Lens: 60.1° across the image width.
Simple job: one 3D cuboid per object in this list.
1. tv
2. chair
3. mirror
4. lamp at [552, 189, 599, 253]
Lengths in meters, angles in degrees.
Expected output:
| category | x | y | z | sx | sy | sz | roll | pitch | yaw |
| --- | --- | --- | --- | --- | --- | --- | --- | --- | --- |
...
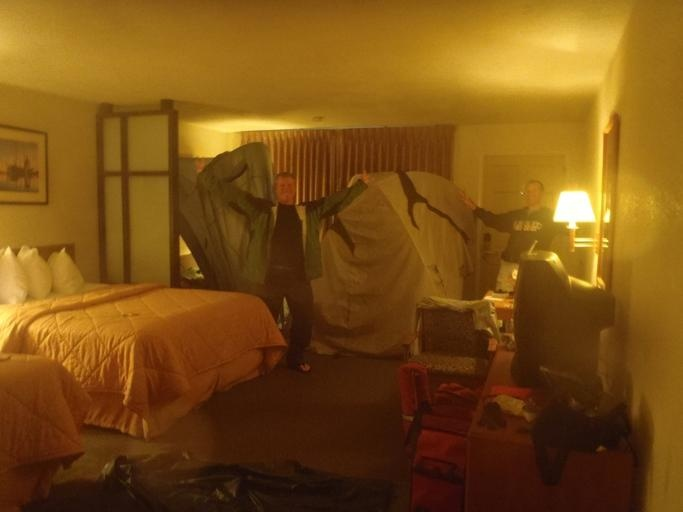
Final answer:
| category | x | y | z | sx | sy | sz | roll | pitch | yaw |
| --- | --- | --- | --- | --- | --- | --- | --- | --- | --- |
| tv | 1.187 | 0.341 | 3.587 | 0.639 | 1.019 | 0.617 | -1 | 2 | 10 |
| chair | 0.768 | 0.545 | 3.991 | 0.555 | 0.452 | 0.607 | 2 | 10 | 10 |
| mirror | 1.801 | -0.350 | 3.994 | 0.061 | 1.378 | 1.303 | 0 | 4 | 19 |
| lamp | 1.813 | -0.299 | 4.617 | 0.261 | 0.454 | 0.968 | 4 | 10 | 20 |
